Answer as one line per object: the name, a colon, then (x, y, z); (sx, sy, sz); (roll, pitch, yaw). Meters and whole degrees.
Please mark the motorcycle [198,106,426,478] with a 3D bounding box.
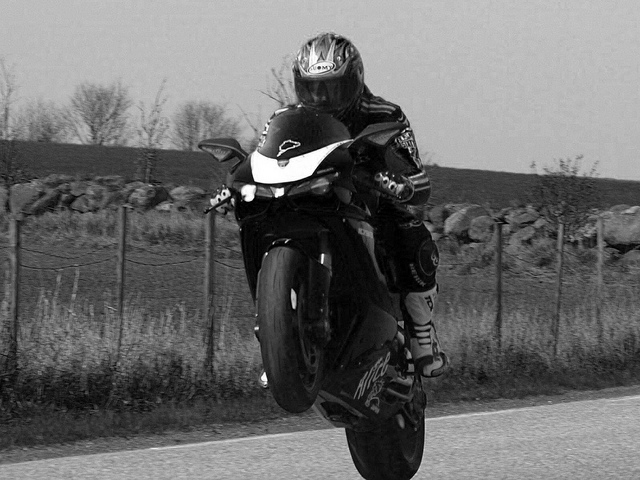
motorcycle: (0.125, 0.238, 6.131); (0.847, 2.378, 1.365); (-1, -3, 37)
